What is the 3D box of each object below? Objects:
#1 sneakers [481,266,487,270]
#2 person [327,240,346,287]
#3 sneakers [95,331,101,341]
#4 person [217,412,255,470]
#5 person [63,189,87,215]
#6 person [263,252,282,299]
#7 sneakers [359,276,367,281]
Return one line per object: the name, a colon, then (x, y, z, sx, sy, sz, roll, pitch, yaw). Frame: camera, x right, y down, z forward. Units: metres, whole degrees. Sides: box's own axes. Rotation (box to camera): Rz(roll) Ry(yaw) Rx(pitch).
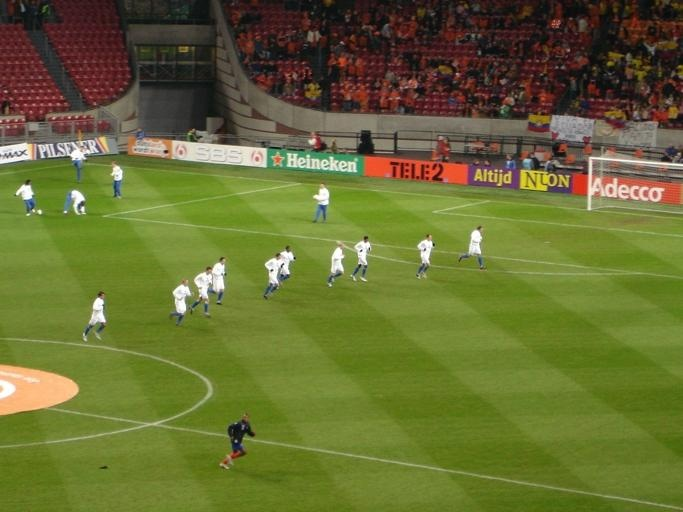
sneakers: (6.212, 0.445, 57.347, 0.314, 0.094, 0.210, -20, -24, 16)
person: (-0.267, 0.352, 56.090, 0.941, 2.007, 0.803, 6, 48, 6)
sneakers: (-9.233, 2.970, 49.192, 0.090, 0.315, 0.178, -11, 52, 18)
person: (-3.373, 5.655, 41.718, 1.055, 1.832, 1.513, -1, 14, -4)
person: (-13.427, -2.803, 65.161, 1.100, 1.221, 1.843, -2, 13, -11)
person: (-2.846, 0.653, 53.617, 0.809, 1.871, 1.439, 0, 14, -3)
sneakers: (0.947, 0.902, 55.759, 0.239, 0.183, 0.456, 0, 13, -3)
